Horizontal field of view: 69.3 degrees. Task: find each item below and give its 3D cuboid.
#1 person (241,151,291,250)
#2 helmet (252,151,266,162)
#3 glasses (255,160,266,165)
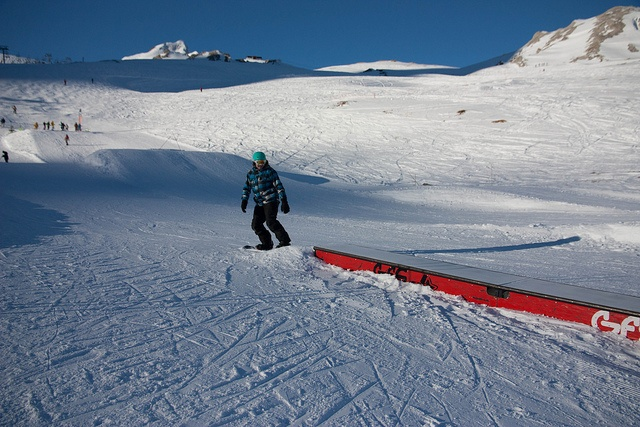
[{"bbox_3d":[-1.069,-0.209,9.157,0.977,1.975,1.216,3,12,-9],"label":"person"},{"bbox_3d":[-1.180,-1.085,8.959,0.222,0.193,0.270,4,11,-2],"label":"helmet"},{"bbox_3d":[-1.159,-0.972,8.957,0.110,0.052,0.114,-3,0,-25],"label":"glasses"}]
